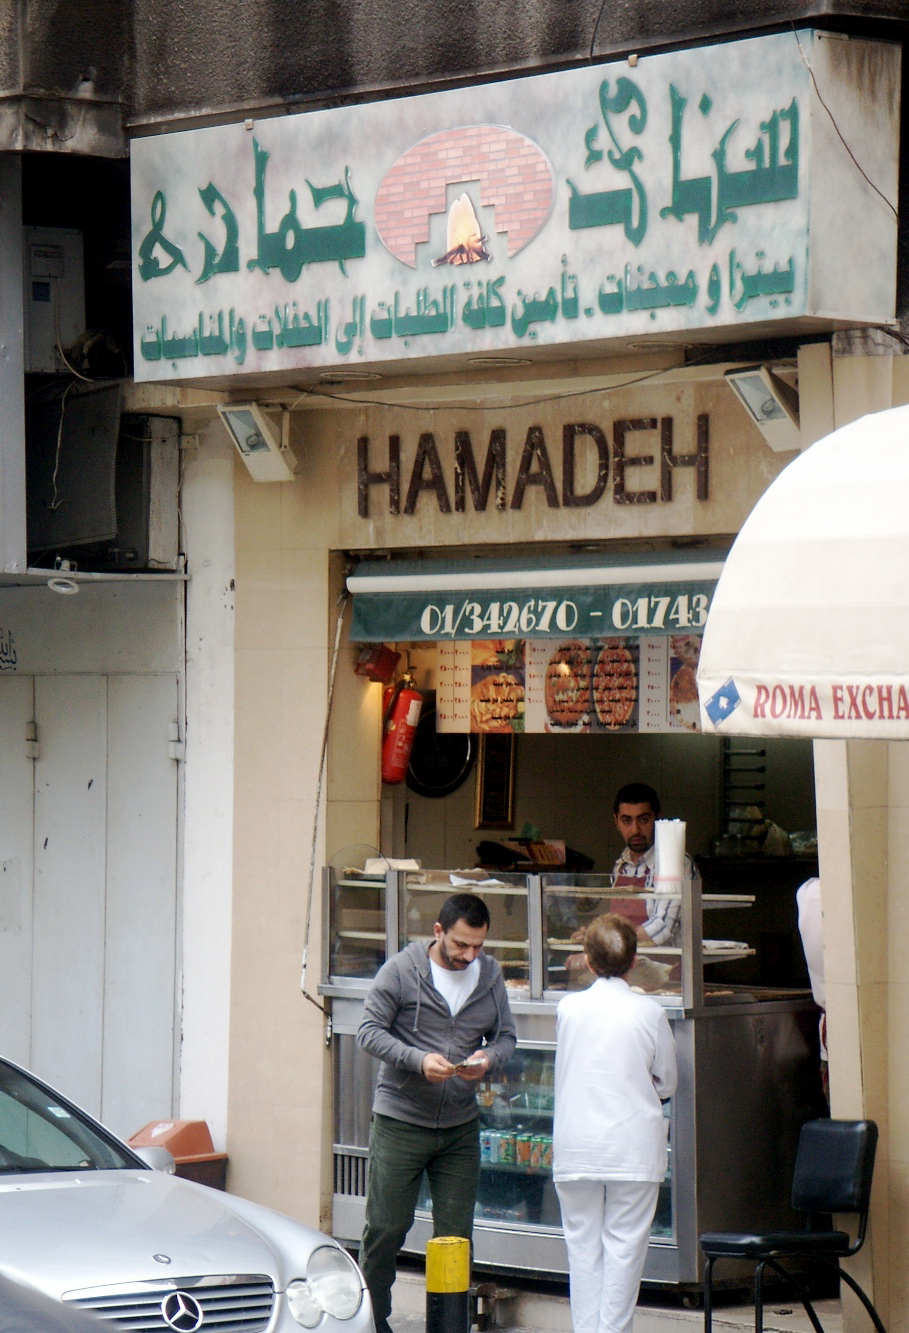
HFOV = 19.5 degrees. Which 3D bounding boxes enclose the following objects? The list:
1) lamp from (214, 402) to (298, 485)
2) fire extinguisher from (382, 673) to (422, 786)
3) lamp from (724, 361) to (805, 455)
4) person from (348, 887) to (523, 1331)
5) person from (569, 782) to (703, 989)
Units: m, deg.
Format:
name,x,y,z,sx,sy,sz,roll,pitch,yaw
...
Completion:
name,x,y,z,sx,sy,sz,roll,pitch,yaw
lamp,-0.855,-0.980,11.488,0.224,0.259,0.482,-1,-9,15
fire extinguisher,-0.244,0.293,12.194,0.165,0.486,0.285,1,-7,-2
lamp,1.207,-0.987,10.172,0.182,0.263,0.340,-7,-11,44
person,-0.065,1.599,9.354,0.542,1.538,0.612,1,-7,1
person,0.716,1.102,10.378,0.325,1.290,0.335,3,16,22
